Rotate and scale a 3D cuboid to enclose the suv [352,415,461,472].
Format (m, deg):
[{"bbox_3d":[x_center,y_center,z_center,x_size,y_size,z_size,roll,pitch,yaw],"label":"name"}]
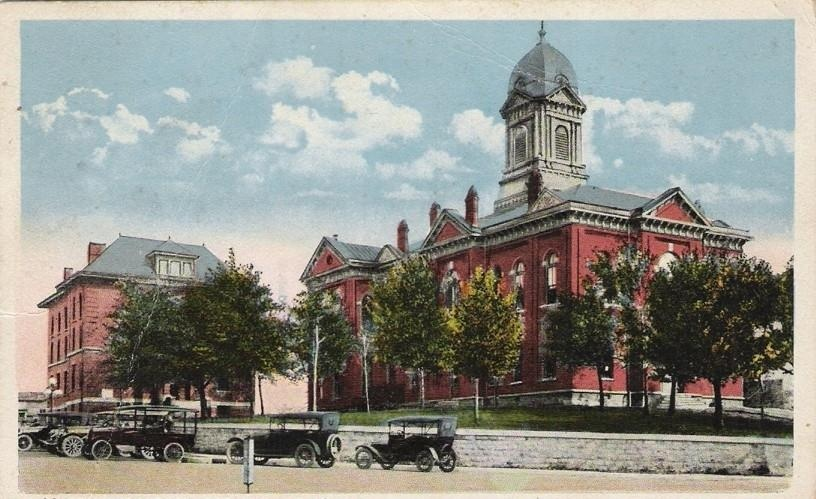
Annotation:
[{"bbox_3d":[0.041,10.004,72.532,4.611,2.914,1.030,-2,-14,5],"label":"suv"}]
